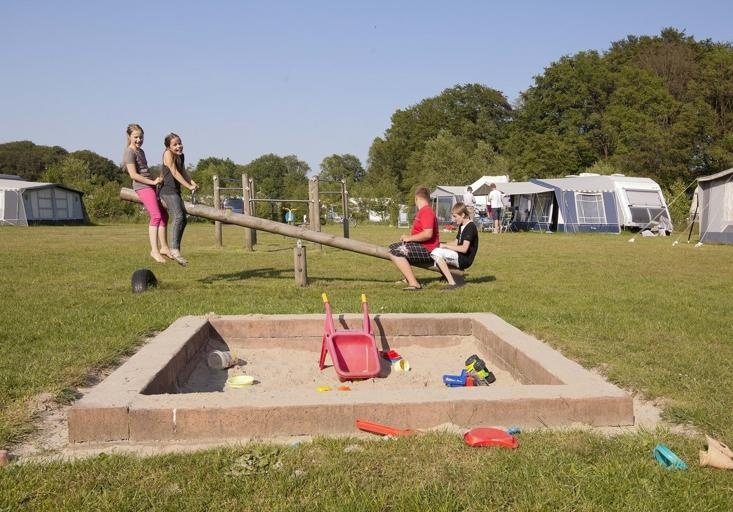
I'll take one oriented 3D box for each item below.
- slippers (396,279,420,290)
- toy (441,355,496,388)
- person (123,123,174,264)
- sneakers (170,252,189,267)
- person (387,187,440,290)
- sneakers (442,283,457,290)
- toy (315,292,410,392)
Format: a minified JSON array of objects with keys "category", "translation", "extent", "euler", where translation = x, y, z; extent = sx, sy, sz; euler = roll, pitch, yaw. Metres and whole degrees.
[{"category":"slippers","translation":[0.634,0.468,10.909],"extent":[0.156,0.121,0.303],"euler":[0,1,-32]},{"category":"toy","translation":[1.012,1.185,6.634],"extent":[0.352,0.177,0.283],"euler":[-9,5,-8]},{"category":"person","translation":[-3.407,-0.917,10.210],"extent":[0.627,2.151,1.309],"euler":[-2,6,-20]},{"category":"sneakers","translation":[-3.323,0.057,11.660],"extent":[0.109,0.263,0.098],"euler":[-29,41,13]},{"category":"person","translation":[0.756,-0.312,10.906],"extent":[0.842,1.713,0.877],"euler":[2,-3,-11]},{"category":"sneakers","translation":[1.300,0.473,10.513],"extent":[0.207,0.094,0.087],"euler":[2,4,-21]},{"category":"toy","translation":[-0.080,0.845,7.160],"extent":[0.909,0.763,1.085],"euler":[-1,6,-5]}]
